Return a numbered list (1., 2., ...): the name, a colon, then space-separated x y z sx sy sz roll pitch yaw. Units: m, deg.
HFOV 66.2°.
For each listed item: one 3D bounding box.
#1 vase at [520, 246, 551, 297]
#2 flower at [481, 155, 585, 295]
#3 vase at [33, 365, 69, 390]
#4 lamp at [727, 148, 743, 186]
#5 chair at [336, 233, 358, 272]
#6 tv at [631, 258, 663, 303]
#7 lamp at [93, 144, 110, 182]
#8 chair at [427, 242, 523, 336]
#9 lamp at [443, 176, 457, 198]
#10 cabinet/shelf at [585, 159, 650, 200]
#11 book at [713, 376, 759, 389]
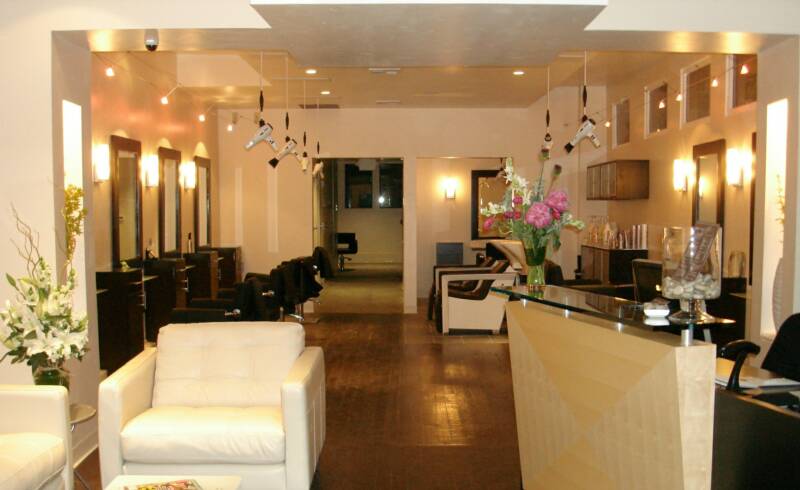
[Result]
1. vase: 1.246 0.218 5.504 0.264 0.417 0.247 4 -5 -43
2. flower: 1.166 -0.136 5.596 0.720 0.937 0.798 -5 1 37
3. vase: -3.121 1.166 5.534 0.243 0.224 0.241 1 2 -1
4. lamp: 4.504 -1.025 8.243 0.083 0.504 0.274 0 11 -9
5. chair: -1.067 0.125 12.337 0.424 0.817 0.411 1 11 -6
6. tv: 2.681 0.411 6.669 0.278 0.524 0.541 5 11 15
7. lamp: -4.051 -1.166 8.289 0.200 0.561 0.575 -1 21 -30
8. chair: 1.276 0.766 10.707 1.538 1.407 1.407 0 -2 -1
9. lamp: 1.097 -1.213 13.319 0.303 0.456 0.070 3 11 6
10. cabinet/shelf: 3.844 -1.130 11.030 0.552 0.691 1.498 -1 3 -2
11. book: 2.615 1.064 4.732 0.174 0.049 0.172 -1 -1 18
